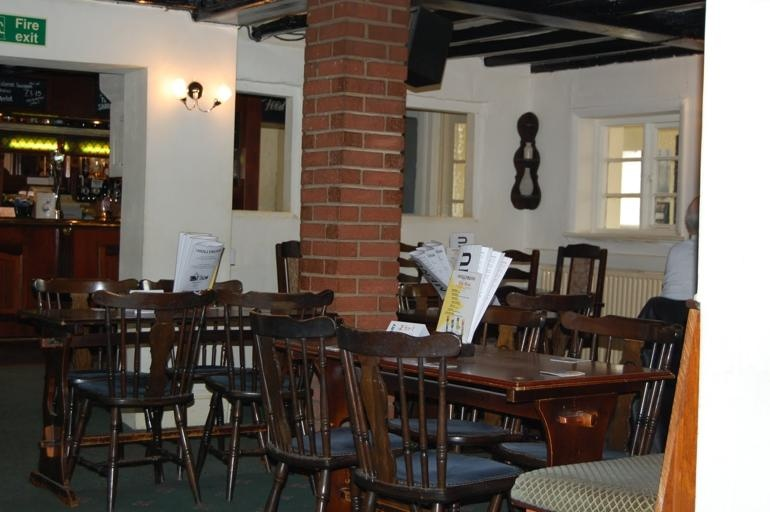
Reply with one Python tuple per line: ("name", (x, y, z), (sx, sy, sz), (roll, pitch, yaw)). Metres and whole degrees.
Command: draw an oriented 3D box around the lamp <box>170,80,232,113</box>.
("lamp", (-1.563, -1.300, 6.079), (0.494, 0.250, 0.238), (7, -31, -36))
